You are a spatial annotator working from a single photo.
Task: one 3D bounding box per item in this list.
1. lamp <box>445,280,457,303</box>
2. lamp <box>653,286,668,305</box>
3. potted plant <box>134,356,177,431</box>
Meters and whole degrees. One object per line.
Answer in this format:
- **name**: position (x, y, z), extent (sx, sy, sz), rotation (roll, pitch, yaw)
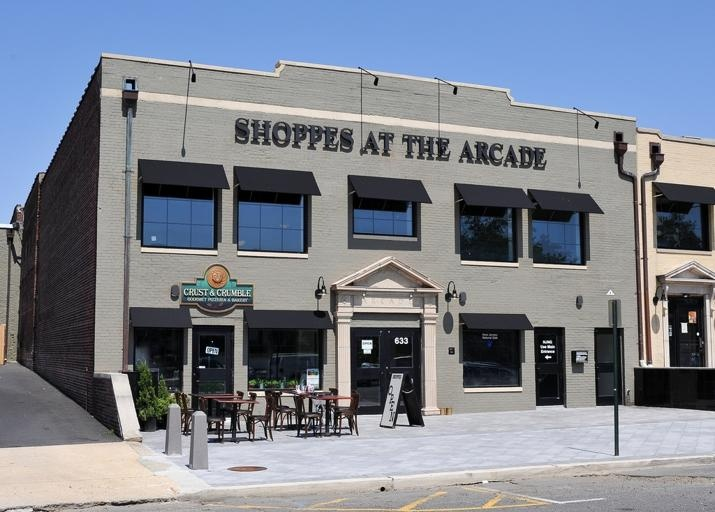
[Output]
- **lamp**: position (3.455, 1.349, 34.081), extent (0.486, 0.781, 0.183), rotation (6, -14, -32)
- **lamp**: position (12.060, 1.594, 36.859), extent (0.547, 0.775, 0.233), rotation (-7, -13, 24)
- **potted plant**: position (-6.359, 4.376, 28.667), extent (1.064, 2.089, 0.539), rotation (1, -12, -13)
